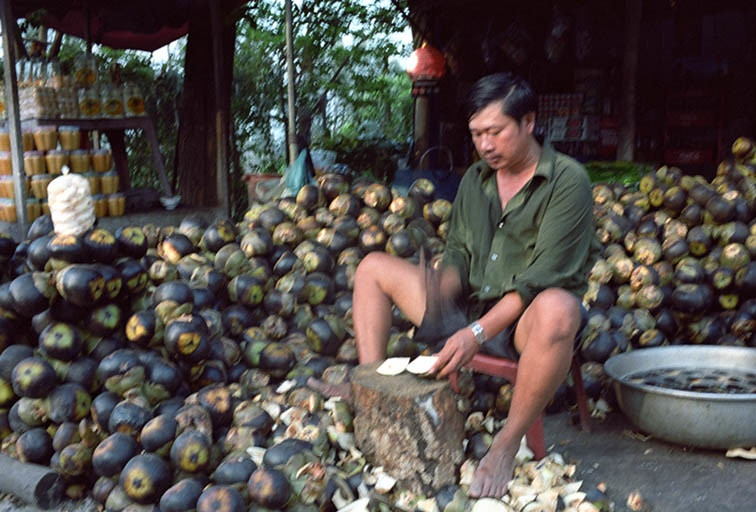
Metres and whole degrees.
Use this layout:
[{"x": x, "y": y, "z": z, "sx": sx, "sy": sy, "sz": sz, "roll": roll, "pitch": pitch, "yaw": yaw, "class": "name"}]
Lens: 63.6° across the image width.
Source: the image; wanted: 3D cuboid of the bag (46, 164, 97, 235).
[{"x": -2.011, "y": -0.355, "z": 3.995, "sx": 0.270, "sy": 0.461, "sz": 0.280, "roll": -1, "pitch": 12, "yaw": -7, "class": "bag"}]

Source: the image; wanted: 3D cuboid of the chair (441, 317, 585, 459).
[{"x": 1.031, "y": 0.853, "z": 4.039, "sx": 0.680, "sy": 0.577, "sz": 0.717, "roll": -12, "pitch": -8, "yaw": 21, "class": "chair"}]

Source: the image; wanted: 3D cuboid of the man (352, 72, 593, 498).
[{"x": 0.633, "y": 0.029, "z": 3.839, "sx": 1.437, "sy": 2.177, "sz": 1.622, "roll": -7, "pitch": 13, "yaw": -41, "class": "man"}]

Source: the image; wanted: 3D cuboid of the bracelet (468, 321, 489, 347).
[{"x": 0.578, "y": 0.471, "z": 3.615, "sx": 0.084, "sy": 0.131, "sz": 0.137, "roll": -21, "pitch": 65, "yaw": -17, "class": "bracelet"}]
